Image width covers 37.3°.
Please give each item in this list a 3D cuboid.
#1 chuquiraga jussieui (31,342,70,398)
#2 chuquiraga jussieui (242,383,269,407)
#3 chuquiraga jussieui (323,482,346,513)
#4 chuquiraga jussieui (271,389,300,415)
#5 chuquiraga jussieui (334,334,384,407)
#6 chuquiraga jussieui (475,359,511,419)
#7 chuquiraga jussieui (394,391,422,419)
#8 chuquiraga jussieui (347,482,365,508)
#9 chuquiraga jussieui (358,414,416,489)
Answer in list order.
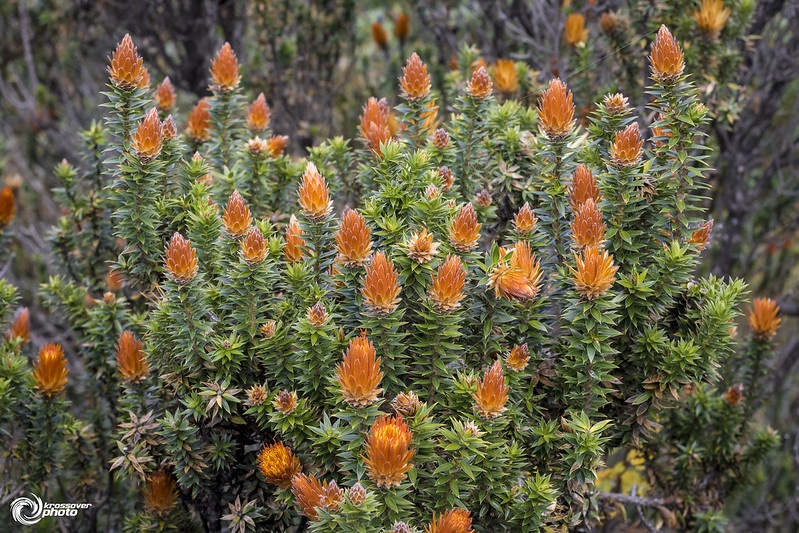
[{"bbox_3d":[-2.534,0.760,8.589,0.237,0.358,0.185,2,0,-20],"label":"chuquiraga jussieui"},{"bbox_3d":[-0.985,0.869,8.143,0.088,0.153,0.132,13,13,23],"label":"chuquiraga jussieui"},{"bbox_3d":[-0.439,1.534,7.829,0.115,0.187,0.178,19,-40,-10],"label":"chuquiraga jussieui"},{"bbox_3d":[-0.768,0.932,8.080,0.146,0.142,0.151,-30,28,7],"label":"chuquiraga jussieui"},{"bbox_3d":[-0.255,0.693,7.875,0.307,0.467,0.243,2,0,-6],"label":"chuquiraga jussieui"},{"bbox_3d":[0.637,0.825,7.980,0.252,0.378,0.175,2,0,-15],"label":"chuquiraga jussieui"},{"bbox_3d":[0.053,0.932,7.997,0.191,0.166,0.134,2,0,-12],"label":"chuquiraga jussieui"},{"bbox_3d":[-0.270,1.500,7.750,0.117,0.149,0.126,-1,2,-6],"label":"chuquiraga jussieui"},{"bbox_3d":[-0.068,1.232,7.821,0.324,0.466,0.221,2,0,-3],"label":"chuquiraga jussieui"}]
